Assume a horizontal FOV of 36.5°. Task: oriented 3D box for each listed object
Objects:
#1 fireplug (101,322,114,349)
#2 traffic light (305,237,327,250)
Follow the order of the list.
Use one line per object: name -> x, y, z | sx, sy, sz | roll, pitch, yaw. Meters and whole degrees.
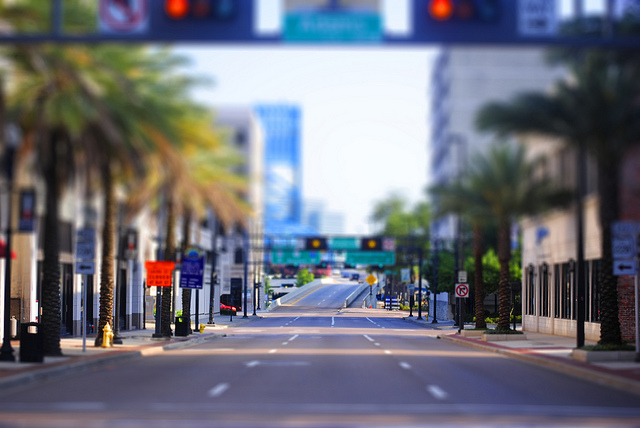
fireplug -> -9.048, 5.199, 41.634 | 0.418, 0.968, 0.430 | -2, -8, 5
traffic light -> -0.504, 2.705, 89.564 | 0.315, 1.402, 1.306 | -2, -3, 45
